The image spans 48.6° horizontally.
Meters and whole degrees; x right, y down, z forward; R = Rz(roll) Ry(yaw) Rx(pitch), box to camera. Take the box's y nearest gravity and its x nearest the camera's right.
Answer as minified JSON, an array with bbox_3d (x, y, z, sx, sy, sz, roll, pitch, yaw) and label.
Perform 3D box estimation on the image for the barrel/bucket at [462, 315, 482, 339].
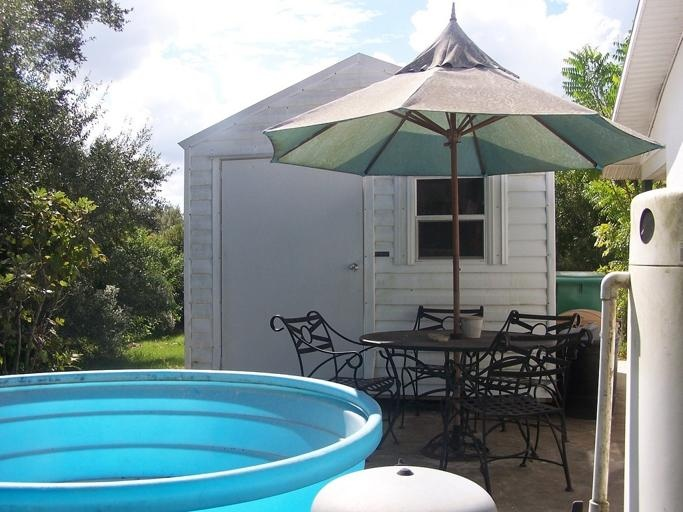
[{"bbox_3d":[1.105,0.600,6.429,0.157,0.157,0.170,0,-7,0],"label":"barrel/bucket"}]

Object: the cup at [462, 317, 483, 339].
[{"bbox_3d":[1.098,0.604,6.397,0.168,0.181,0.159,1,-2,0],"label":"cup"}]

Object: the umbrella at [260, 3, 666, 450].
[{"bbox_3d":[0.746,-0.336,6.600,2.964,2.851,2.914,-1,2,-38],"label":"umbrella"}]
